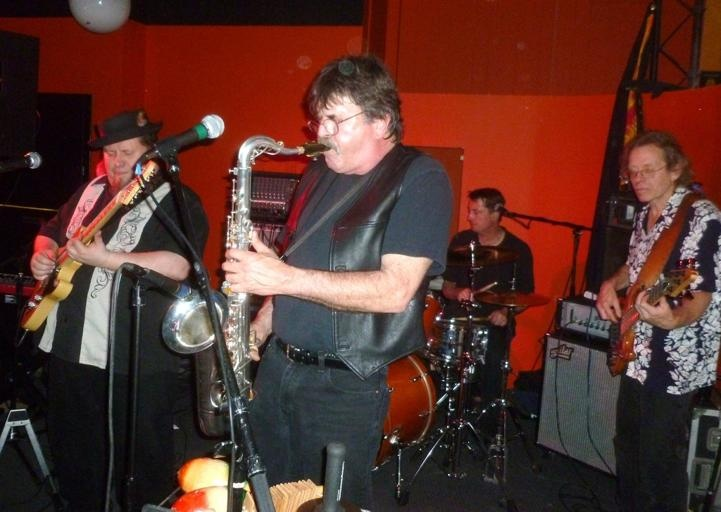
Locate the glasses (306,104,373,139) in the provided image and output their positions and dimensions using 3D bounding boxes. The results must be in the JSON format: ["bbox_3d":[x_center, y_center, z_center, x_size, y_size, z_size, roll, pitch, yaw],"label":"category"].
[{"bbox_3d":[-0.120,-0.695,3.224,0.193,0.066,0.181,-36,19,-33],"label":"glasses"}]

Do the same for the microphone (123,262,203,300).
[{"bbox_3d":[-1.083,0.137,3.371,0.330,0.133,0.081,31,2,-44],"label":"microphone"}]

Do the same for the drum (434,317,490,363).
[{"bbox_3d":[0.874,0.685,5.276,0.370,0.289,0.386,14,-7,2],"label":"drum"}]

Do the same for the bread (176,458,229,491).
[{"bbox_3d":[-0.726,1.013,2.956,0.231,0.144,0.159,6,-33,20],"label":"bread"}]

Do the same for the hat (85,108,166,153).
[{"bbox_3d":[-1.481,-0.826,4.009,0.277,0.113,0.327,-11,18,38],"label":"hat"}]
